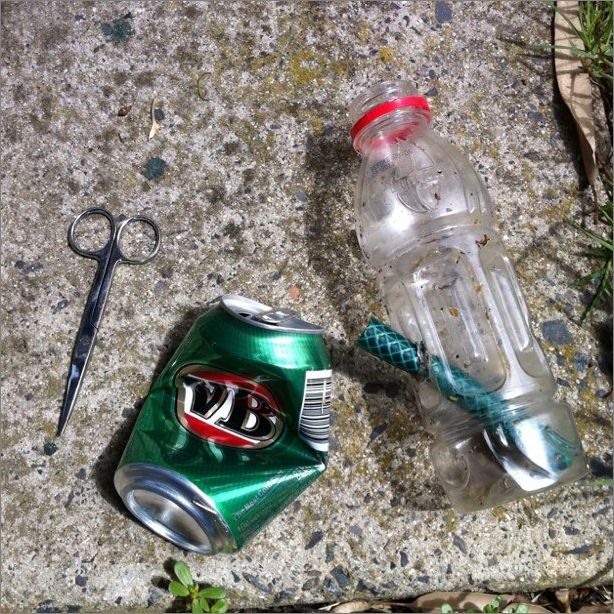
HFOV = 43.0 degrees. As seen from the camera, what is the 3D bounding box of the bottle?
[{"bbox_3d":[0.302,-0.003,1.620,0.357,0.277,0.825,-19,81,-9],"label":"bottle"}]
